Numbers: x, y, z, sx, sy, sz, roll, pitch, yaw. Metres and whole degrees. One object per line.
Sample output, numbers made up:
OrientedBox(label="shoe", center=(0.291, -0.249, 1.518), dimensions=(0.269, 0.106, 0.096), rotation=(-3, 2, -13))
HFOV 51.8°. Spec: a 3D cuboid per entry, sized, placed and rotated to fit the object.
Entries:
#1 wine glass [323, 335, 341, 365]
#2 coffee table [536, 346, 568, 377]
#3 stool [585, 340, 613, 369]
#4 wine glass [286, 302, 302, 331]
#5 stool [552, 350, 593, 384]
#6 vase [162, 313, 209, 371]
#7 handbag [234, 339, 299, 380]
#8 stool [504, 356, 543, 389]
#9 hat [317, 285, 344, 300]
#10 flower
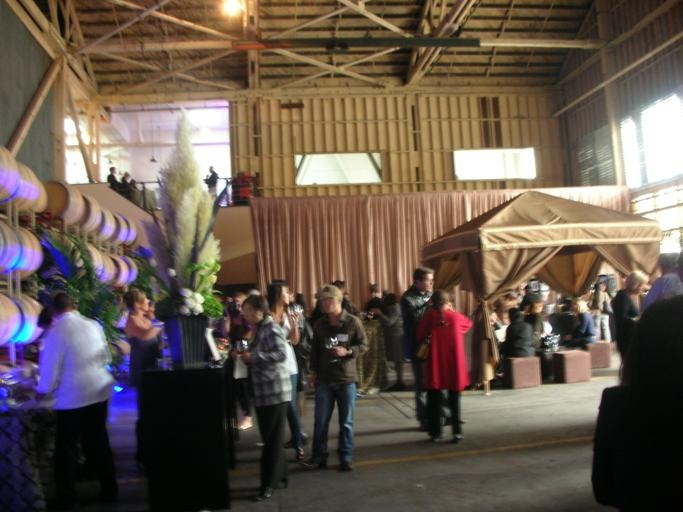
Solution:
OrientedBox(label="wine glass", center=(-0.098, 1.025, 7.658), dimensions=(0.152, 0.324, 0.152), rotation=(-2, 9, 3))
OrientedBox(label="coffee table", center=(3.296, 1.704, 11.211), dimensions=(0.548, 0.461, 0.367), rotation=(0, -4, -4))
OrientedBox(label="stool", center=(4.325, 1.679, 11.799), dimensions=(0.442, 0.395, 0.438), rotation=(-5, -6, 30))
OrientedBox(label="wine glass", center=(-0.615, 0.777, 8.783), dimensions=(0.149, 0.344, 0.261), rotation=(4, 5, 7))
OrientedBox(label="stool", center=(3.603, 1.749, 11.193), dimensions=(0.610, 0.438, 0.605), rotation=(-3, 3, -42))
OrientedBox(label="vase", center=(-1.466, 0.823, 6.830), dimensions=(0.525, 0.498, 0.483), rotation=(2, -2, -8))
OrientedBox(label="handbag", center=(-0.802, 1.090, 7.362), dimensions=(0.492, 0.415, 0.438), rotation=(-5, -10, 6))
OrientedBox(label="stool", center=(2.769, 1.803, 10.935), dimensions=(0.588, 0.452, 0.289), rotation=(-3, 0, -24))
OrientedBox(label="hat", center=(-0.135, 0.414, 7.850), dimensions=(0.240, 0.190, 0.371), rotation=(-2, 9, 0))
OrientedBox(label="flower", center=(-1.507, -0.341, 6.547), dimensions=(0.621, 1.862, 0.211), rotation=(-5, 10, -16))
